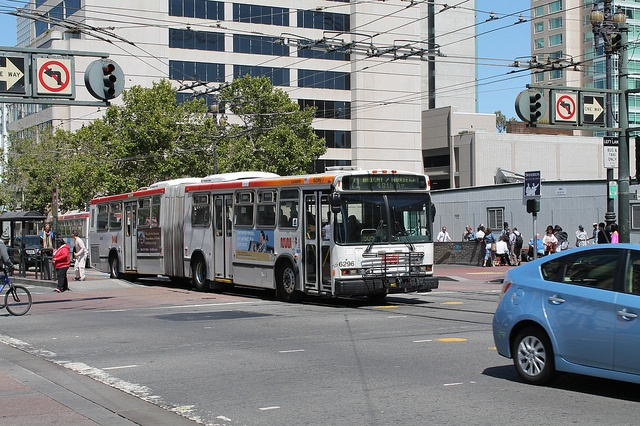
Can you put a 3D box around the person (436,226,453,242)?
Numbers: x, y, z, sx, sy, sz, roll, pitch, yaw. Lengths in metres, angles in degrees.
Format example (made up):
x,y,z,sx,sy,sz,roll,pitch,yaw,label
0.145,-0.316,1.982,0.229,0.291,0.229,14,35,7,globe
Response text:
x,y,z,sx,sy,sz,roll,pitch,yaw,label
7.892,1.303,47.496,0.728,1.371,0.424,11,-14,-24,person

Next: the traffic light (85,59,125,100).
x,y,z,sx,sy,sz,roll,pitch,yaw,label
-5.904,-3.667,20.758,0.974,1.149,0.787,-3,4,-15,traffic light

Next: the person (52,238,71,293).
x,y,z,sx,sy,sz,roll,pitch,yaw,label
-9.092,1.871,26.670,0.532,1.863,1.291,-3,4,-19,person

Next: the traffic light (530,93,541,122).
x,y,z,sx,sy,sz,roll,pitch,yaw,label
7.259,-3.487,25.368,0.390,0.990,0.976,-1,4,16,traffic light

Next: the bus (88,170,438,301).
x,y,z,sx,sy,sz,roll,pitch,yaw,label
-3.572,0.736,28.224,3.987,4.405,19.122,-4,4,-36,bus

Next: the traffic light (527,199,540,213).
x,y,z,sx,sy,sz,roll,pitch,yaw,label
8.236,-0.264,29.212,0.441,0.505,0.771,-1,3,13,traffic light

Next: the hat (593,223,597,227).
x,y,z,sx,sy,sz,roll,pitch,yaw,label
13.417,0.572,36.823,0.203,0.185,0.203,-3,-2,25,hat
